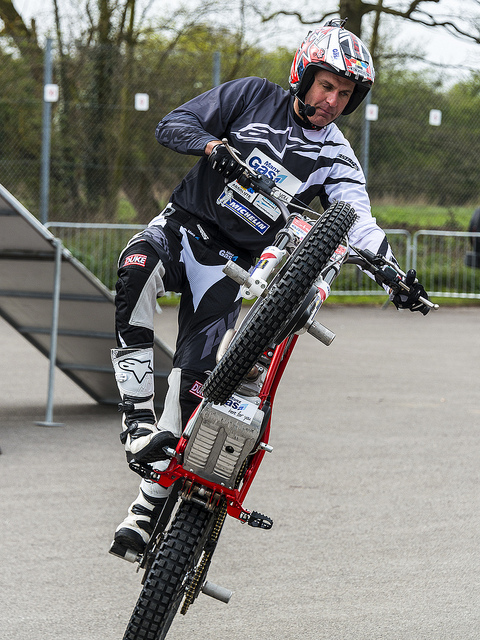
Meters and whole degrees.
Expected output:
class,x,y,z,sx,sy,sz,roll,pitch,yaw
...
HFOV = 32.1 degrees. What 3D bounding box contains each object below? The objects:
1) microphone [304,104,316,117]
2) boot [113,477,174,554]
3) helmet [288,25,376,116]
class,x,y,z,sx,sy,sz,roll,pitch,yaw
microphone,0.259,-0.752,3.016,0.034,0.038,0.043,11,33,-5
boot,-0.329,0.675,2.894,0.153,0.207,0.256,3,9,11
helmet,0.347,-0.899,2.982,0.276,0.241,0.336,-8,36,-43
